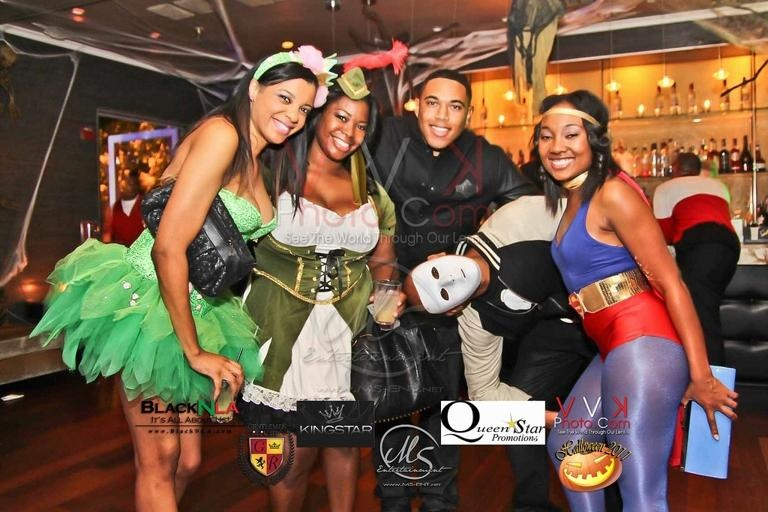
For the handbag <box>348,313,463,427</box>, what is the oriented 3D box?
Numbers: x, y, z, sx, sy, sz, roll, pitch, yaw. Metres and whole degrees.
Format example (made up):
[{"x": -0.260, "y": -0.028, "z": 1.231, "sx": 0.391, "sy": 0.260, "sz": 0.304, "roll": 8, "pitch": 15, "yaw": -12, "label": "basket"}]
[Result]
[{"x": 0.087, "y": 0.564, "z": 2.500, "sx": 0.553, "sy": 0.563, "sz": 0.250, "roll": -2, "pitch": 7, "yaw": -7, "label": "handbag"}]

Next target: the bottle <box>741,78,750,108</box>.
[{"x": 1.891, "y": -0.838, "z": 2.624, "sx": 0.043, "sy": 0.155, "sz": 0.212, "roll": 4, "pitch": 9, "yaw": 35, "label": "bottle"}]

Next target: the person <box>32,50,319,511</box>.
[{"x": -0.846, "y": 0.095, "z": 2.142, "sx": 1.214, "sy": 1.962, "sz": 0.556, "roll": -1, "pitch": 7, "yaw": -2, "label": "person"}]

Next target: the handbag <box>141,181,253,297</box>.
[{"x": -0.696, "y": -0.022, "z": 1.929, "sx": 0.372, "sy": 0.482, "sz": 0.177, "roll": 9, "pitch": 16, "yaw": 19, "label": "handbag"}]
